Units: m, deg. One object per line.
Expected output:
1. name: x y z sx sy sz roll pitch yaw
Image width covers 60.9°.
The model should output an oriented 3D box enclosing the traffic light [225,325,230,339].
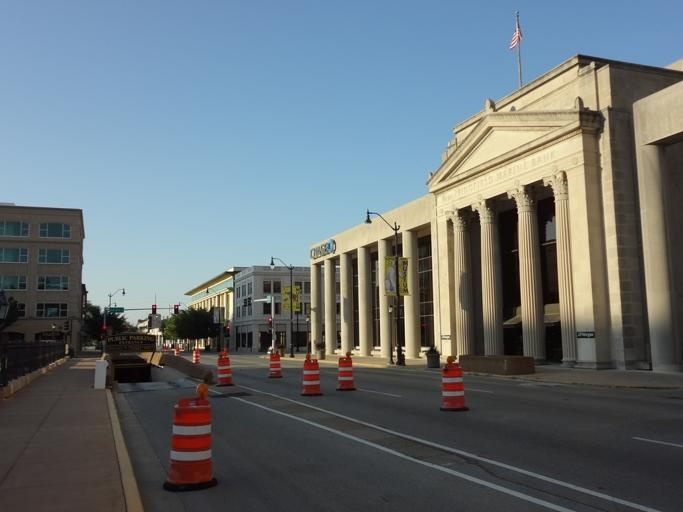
1. traffic light: -22.417 14.471 114.525 0.972 2.259 0.975 -1 -9 -5

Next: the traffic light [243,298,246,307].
1. traffic light: -17.530 8.273 105.270 0.901 1.853 0.971 1 -9 -6

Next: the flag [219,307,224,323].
1. flag: -21.962 10.659 106.576 1.422 2.957 2.859 -1 -8 -4
